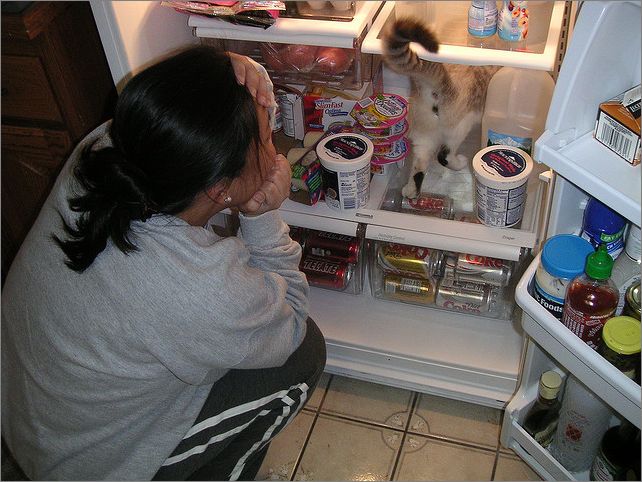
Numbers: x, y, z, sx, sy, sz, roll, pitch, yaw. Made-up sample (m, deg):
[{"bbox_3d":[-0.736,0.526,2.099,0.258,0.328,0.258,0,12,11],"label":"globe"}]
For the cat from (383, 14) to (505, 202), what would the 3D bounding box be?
[{"bbox_3d":[0.473,-0.534,1.657,0.251,0.509,0.826,10,29,28],"label":"cat"}]

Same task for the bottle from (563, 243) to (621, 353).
[{"bbox_3d":[0.529,0.108,0.919,0.091,0.238,0.094,-9,40,7],"label":"bottle"}]

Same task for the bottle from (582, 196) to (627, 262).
[{"bbox_3d":[0.603,-0.007,0.985,0.057,0.092,0.093,3,37,41],"label":"bottle"}]

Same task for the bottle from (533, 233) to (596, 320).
[{"bbox_3d":[0.482,0.076,0.926,0.090,0.158,0.095,-6,63,13],"label":"bottle"}]
